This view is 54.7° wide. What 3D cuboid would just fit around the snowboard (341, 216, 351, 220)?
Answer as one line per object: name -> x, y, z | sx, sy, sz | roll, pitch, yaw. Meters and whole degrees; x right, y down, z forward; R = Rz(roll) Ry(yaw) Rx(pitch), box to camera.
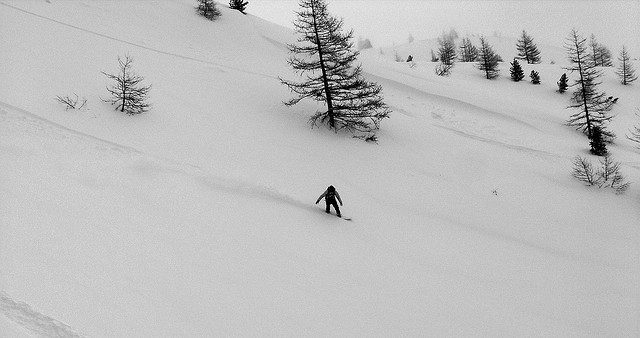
snowboard -> 1.802, 3.463, 42.965 | 0.655, 0.174, 0.279 | 0, 26, -1
